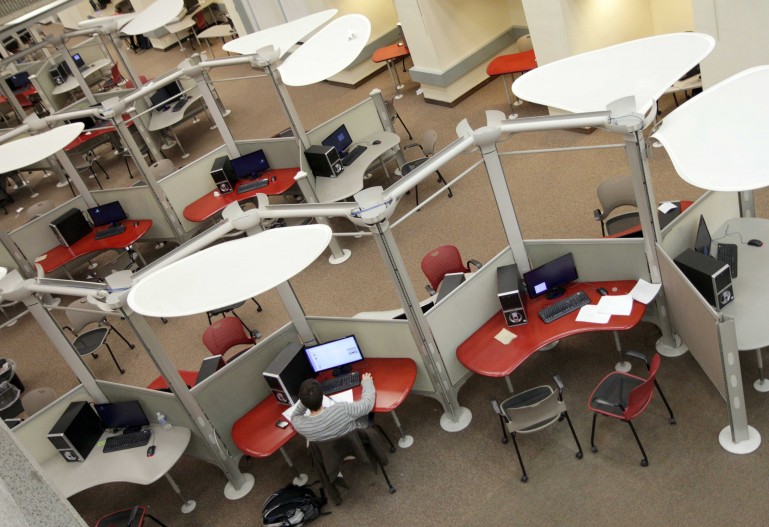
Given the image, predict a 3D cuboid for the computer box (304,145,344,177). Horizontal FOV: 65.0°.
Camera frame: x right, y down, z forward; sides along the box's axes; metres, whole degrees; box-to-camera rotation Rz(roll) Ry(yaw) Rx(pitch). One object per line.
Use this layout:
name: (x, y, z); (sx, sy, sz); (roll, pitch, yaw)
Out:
computer box: (-0.920, -1.529, 8.977); (0.581, 0.613, 0.353); (6, 41, 11)

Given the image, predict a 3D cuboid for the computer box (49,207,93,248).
computer box: (-5.082, -0.585, 9.727); (0.246, 0.433, 0.502); (5, 42, 45)

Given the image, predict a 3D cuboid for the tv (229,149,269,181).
tv: (-2.188, -1.606, 9.684); (0.455, 0.334, 0.139); (-21, 26, 7)

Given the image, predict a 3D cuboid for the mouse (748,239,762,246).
mouse: (3.876, -0.233, 6.305); (0.095, 0.027, 0.072); (5, 35, 27)

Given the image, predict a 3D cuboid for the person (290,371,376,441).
person: (-0.521, 1.512, 6.110); (0.692, 1.261, 0.716); (-7, 72, 17)

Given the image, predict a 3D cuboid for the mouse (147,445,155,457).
mouse: (-2.482, 1.990, 6.414); (0.070, 0.025, 0.099); (2, 62, 10)

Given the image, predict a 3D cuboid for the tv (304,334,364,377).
tv: (-0.532, 1.011, 6.569); (0.423, 0.296, 0.115); (-16, 33, 9)

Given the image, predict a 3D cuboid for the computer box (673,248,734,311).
computer box: (3.105, 0.172, 5.872); (0.244, 0.426, 0.424); (-31, 41, -18)

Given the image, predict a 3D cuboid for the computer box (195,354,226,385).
computer box: (-1.975, 1.207, 6.856); (0.183, 0.335, 0.181); (12, 28, 22)

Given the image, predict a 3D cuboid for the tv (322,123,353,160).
tv: (-0.662, -1.930, 9.351); (0.538, 0.380, 0.157); (-31, 9, 32)

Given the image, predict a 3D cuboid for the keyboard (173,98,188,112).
keyboard: (-4.196, -3.292, 12.359); (0.337, 0.129, 0.350); (12, 68, 50)

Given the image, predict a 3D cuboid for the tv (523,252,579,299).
tv: (1.821, 0.126, 6.534); (0.401, 0.290, 0.129); (-28, 26, 2)
